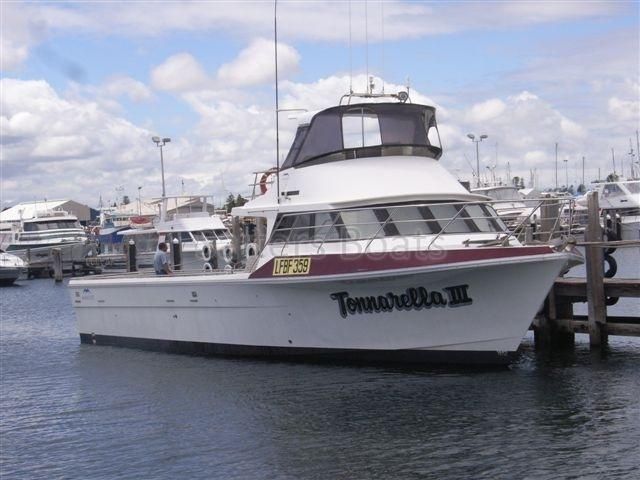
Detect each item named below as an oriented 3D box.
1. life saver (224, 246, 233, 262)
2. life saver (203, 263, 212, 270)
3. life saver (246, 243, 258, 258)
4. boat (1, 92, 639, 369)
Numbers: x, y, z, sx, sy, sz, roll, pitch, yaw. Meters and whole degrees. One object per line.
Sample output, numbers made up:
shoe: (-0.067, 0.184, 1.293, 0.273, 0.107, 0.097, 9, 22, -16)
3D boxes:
life saver: (-2.142, 0.341, 15.852, 0.244, 0.296, 0.142, -3, 5, 0)
life saver: (-2.768, 0.670, 16.596, 0.228, 0.209, 0.078, 15, 13, 39)
life saver: (-1.451, 0.224, 14.663, 0.220, 0.269, 0.103, 0, 1, 13)
boat: (-0.090, 0.162, 15.340, 11.078, 4.404, 4.611, -4, -3, 34)
